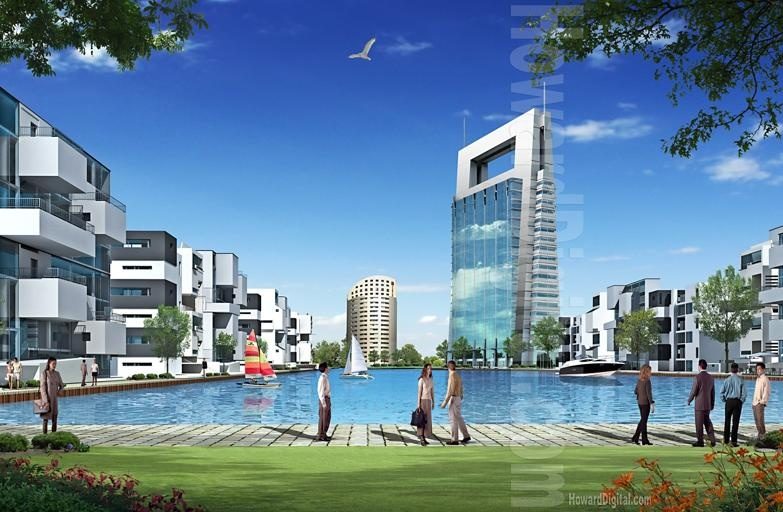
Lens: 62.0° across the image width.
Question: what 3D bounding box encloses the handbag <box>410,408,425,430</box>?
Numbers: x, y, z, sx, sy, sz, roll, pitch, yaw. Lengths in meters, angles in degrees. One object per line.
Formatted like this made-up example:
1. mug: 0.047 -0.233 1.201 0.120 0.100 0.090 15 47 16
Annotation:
1. handbag: 0.849 5.002 20.264 0.329 0.599 0.532 10 -16 -40

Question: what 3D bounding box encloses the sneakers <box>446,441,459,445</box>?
1. sneakers: 1.828 5.613 19.749 0.131 0.165 0.424 7 -13 -33

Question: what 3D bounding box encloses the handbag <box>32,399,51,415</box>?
1. handbag: -10.904 4.638 20.181 0.598 0.491 0.380 -6 -13 23

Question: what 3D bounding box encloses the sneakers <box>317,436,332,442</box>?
1. sneakers: -2.052 5.638 20.215 0.525 0.215 0.160 0 -2 1

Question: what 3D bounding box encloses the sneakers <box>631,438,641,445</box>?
1. sneakers: 7.534 5.624 19.933 0.336 0.234 0.132 1 -3 4
